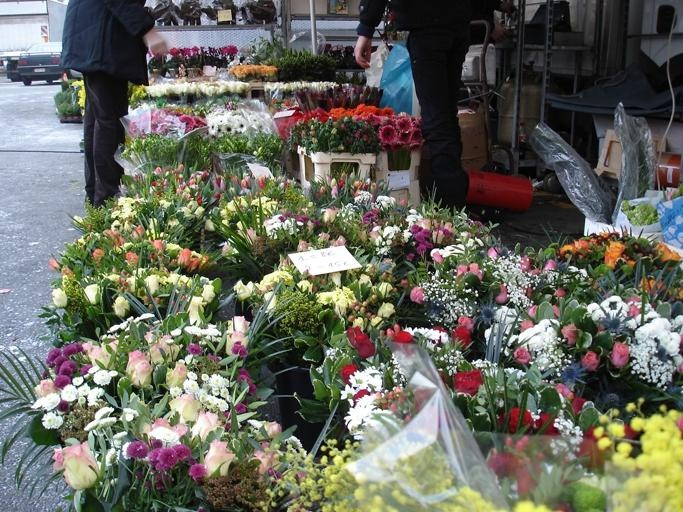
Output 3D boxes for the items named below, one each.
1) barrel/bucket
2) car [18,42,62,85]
[{"bbox_3d":[-0.115,0.364,1.475,0.181,0.268,0.194,-1,1,0],"label":"barrel/bucket"},{"bbox_3d":[-9.161,-5.873,17.353,1.203,1.294,1.674,-10,18,-28],"label":"car"}]
